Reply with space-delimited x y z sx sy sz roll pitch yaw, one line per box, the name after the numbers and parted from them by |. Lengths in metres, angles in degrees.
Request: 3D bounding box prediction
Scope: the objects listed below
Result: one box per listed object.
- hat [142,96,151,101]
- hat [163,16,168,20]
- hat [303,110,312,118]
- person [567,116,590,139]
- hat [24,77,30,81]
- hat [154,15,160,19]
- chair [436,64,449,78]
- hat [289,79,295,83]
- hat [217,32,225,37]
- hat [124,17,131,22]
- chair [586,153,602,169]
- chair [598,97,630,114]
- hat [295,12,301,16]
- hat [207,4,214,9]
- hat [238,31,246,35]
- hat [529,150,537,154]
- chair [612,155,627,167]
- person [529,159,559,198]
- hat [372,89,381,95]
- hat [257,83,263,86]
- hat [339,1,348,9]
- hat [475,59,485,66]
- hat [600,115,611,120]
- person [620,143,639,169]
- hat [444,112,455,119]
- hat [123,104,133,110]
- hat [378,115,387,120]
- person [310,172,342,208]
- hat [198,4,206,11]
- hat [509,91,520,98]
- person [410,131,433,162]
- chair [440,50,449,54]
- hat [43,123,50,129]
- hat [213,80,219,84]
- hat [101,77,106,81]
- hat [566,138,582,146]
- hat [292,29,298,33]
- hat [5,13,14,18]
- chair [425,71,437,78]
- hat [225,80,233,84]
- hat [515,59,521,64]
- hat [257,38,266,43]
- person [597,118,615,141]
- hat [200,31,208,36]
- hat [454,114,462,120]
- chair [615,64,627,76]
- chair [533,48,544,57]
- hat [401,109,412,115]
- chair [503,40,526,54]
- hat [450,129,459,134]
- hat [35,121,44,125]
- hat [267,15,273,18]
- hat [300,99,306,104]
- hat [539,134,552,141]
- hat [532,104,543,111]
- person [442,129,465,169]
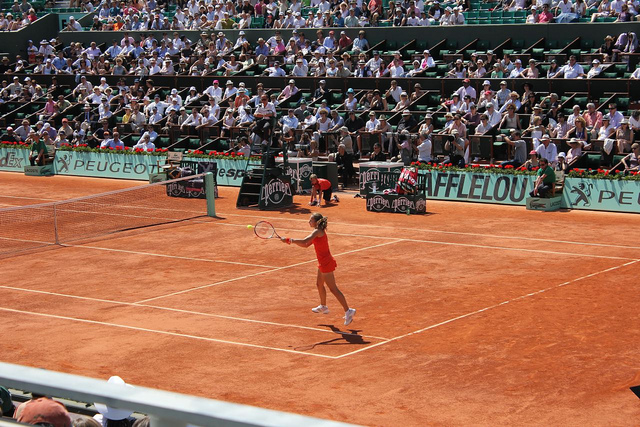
-7.743 -5.129 33.091 0.382 0.161 0.519 4 5 -16 | hat
-8.258 -10.495 39.817 0.268 0.113 0.363 -3 12 -3 | hat
-0.438 -3.858 28.620 0.191 0.280 0.422 5 15 24 | hat
8.461 -2.771 24.029 0.477 1.027 0.750 -1 5 -19 | person
-14.806 -6.806 37.530 0.302 0.142 0.406 -1 5 -17 | hat
-8.474 -10.287 38.745 0.230 0.136 0.248 -4 13 -13 | hat
4.908 -5.666 29.357 0.468 0.438 0.819 -1 13 1 | chair
-1.103 -5.437 30.452 0.244 0.112 0.330 1 12 0 | hat
-4.801 -8.709 36.032 0.291 0.114 0.309 -3 5 3 | hat
-10.354 -10.447 39.964 0.484 0.236 0.668 1 16 -14 | hat
8.785 -1.670 23.618 0.549 0.522 0.426 4 6 39 | chair
10.295 -3.718 25.418 1.254 0.532 0.532 5 17 20 | chair
-1.004 -9.439 35.072 0.267 0.119 0.346 2 13 10 | hat
-5.682 -10.842 38.834 0.241 0.191 0.405 -8 15 -27 | hat
-3.687 -8.668 35.635 0.229 0.150 0.218 -4 14 -14 | hat
6.882 -1.963 23.735 0.217 0.095 0.306 0 6 20 | hat
9.329 -1.712 23.152 0.500 0.476 0.278 7 14 41 | chair
7.000 -1.102 22.854 0.835 1.214 0.482 -1 14 2 | person
2.229 -4.676 28.630 0.370 0.095 0.360 1 3 15 | hat
-2.445 -5.353 30.781 0.321 0.095 0.332 1 9 22 | hat
1.152 -9.626 34.351 0.351 0.325 0.398 0 13 3 | hat
6.108 -5.714 28.134 0.542 0.146 0.521 1 3 9 | hat
9.311 -3.132 24.082 0.229 0.143 0.524 1 13 9 | hat
9.483 -1.751 22.511 0.413 0.769 0.522 -1 14 1 | person
4.586 -3.441 25.879 0.279 0.102 0.284 3 -2 39 | hat
-8.452 -4.679 32.678 0.444 0.131 0.402 0 2 -30 | hat
2.297 -3.477 26.795 0.213 0.147 0.310 -1 13 -1 | hat
0.142 -0.771 24.169 0.487 0.920 1.486 2 3 30 | person
-6.193 -10.870 39.256 0.362 0.080 0.339 18 52 12 | hat
6.820 -4.150 25.854 0.361 0.104 0.362 8 -20 11 | hat
3.580 -2.302 25.555 0.675 0.997 0.574 0 14 5 | person
5.164 -6.636 30.505 0.257 0.154 0.218 1 10 14 | chair
-12.057 -3.860 32.663 0.239 0.212 0.238 11 15 28 | hat
-4.462 -5.679 32.033 0.260 0.112 0.385 1 2 -3 | hat
-10.293 -6.393 35.301 0.232 0.113 0.334 0 11 -4 | hat
8.127 -2.252 23.545 0.482 0.243 0.345 3 14 16 | hat
-1.076 -8.339 33.930 0.218 0.140 0.172 -4 14 -11 | hat
-18.843 -11.942 44.808 0.434 0.133 0.432 -2 12 31 | hat
4.446 -5.526 29.354 0.479 0.188 0.399 1 13 11 | chair
-3.854 -5.655 31.858 0.397 0.132 0.403 -2 2 3 | hat
7.297 -5.558 27.060 0.229 0.102 0.286 3 14 13 | hat
-2.683 -8.016 34.186 0.312 0.110 0.300 -3 3 5 | hat
9.220 -2.714 23.750 0.463 0.611 0.729 0 14 4 | person
-5.678 -8.873 36.644 0.446 0.160 0.423 -1 3 -5 | hat
4.741 -3.294 25.279 0.280 0.150 0.350 5 0 4 | hat
10.762 -5.096 26.367 0.399 0.386 0.293 3 15 19 | chair
8.483 -6.189 28.587 0.465 0.409 0.245 4 8 18 | chair
3.174 -3.671 26.899 0.394 0.150 0.408 2 2 2 | hat
7.657 -6.700 29.418 0.769 0.786 0.813 6 12 35 | chair
4.633 -2.793 25.281 0.209 0.143 0.205 1 13 8 | hat
-12.443 -4.050 33.031 0.286 0.137 0.430 0 1 -28 | hat
-2.394 -9.547 35.962 0.112 0.124 0.256 -10 16 -31 | hat
-0.631 -4.295 28.462 0.190 0.182 0.372 -2 13 -2 | hat
7.265 -2.425 23.768 0.314 0.124 0.346 -2 -4 17 | hat
7.448 -3.600 25.178 0.378 0.149 0.412 3 -5 16 | hat
4.577 -2.208 25.114 0.886 1.316 0.778 6 -4 -17 | person
